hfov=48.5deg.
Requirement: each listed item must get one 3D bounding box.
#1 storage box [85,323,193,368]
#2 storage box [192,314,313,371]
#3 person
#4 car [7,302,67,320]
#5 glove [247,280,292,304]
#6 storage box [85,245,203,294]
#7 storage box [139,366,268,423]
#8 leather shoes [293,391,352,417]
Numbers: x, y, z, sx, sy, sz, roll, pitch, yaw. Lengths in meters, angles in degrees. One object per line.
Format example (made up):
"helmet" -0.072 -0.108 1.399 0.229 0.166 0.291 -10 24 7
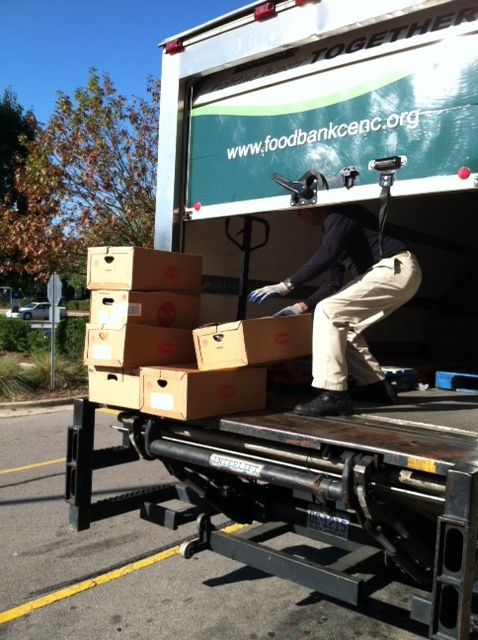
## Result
"storage box" -0.566 0.147 3.144 0.477 0.201 0.604 -1 -4 30
"storage box" 0.102 0.115 2.949 0.382 0.215 0.660 -9 -2 34
"person" 0.558 -0.166 3.103 0.961 1.328 0.734 -1 -8 -14
"car" -12.234 -0.582 31.696 2.906 0.852 1.390 1 -1 -33
"glove" 0.172 -0.159 3.044 0.212 0.125 0.077 -29 10 39
"storage box" -0.569 -0.310 3.314 0.364 0.235 0.675 5 3 31
"storage box" -0.185 0.353 2.767 0.401 0.208 0.562 1 -1 43
"leather shoes" 0.438 0.415 2.682 0.308 0.132 0.111 2 -5 -7
